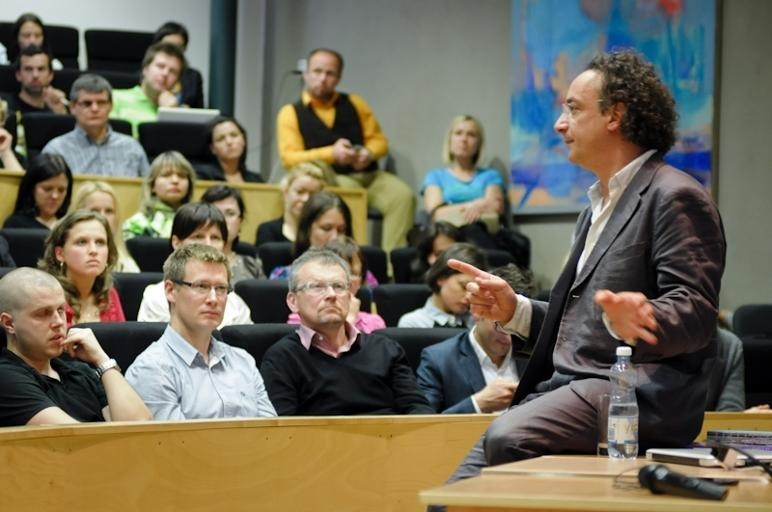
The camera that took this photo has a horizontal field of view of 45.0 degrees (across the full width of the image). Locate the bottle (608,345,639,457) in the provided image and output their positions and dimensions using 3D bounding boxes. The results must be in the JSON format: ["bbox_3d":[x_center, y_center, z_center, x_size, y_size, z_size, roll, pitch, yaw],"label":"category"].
[{"bbox_3d":[0.699,0.423,2.715,0.102,0.320,0.154,6,10,15],"label":"bottle"}]

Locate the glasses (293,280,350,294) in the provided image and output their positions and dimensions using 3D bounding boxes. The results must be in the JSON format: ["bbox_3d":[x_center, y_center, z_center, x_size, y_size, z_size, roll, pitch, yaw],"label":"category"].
[{"bbox_3d":[-0.258,0.123,3.634,0.216,0.062,0.090,3,9,-5],"label":"glasses"}]

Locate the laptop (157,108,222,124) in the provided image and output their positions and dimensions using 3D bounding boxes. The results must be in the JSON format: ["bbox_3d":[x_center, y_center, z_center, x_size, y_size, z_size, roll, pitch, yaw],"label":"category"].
[{"bbox_3d":[-1.186,-0.855,5.696,0.479,0.089,0.240,10,11,35],"label":"laptop"}]

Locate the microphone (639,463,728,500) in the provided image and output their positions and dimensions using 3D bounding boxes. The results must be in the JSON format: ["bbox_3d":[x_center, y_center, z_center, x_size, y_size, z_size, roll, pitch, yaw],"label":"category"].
[{"bbox_3d":[0.752,0.584,2.370,0.082,0.077,0.206,3,1,-40],"label":"microphone"}]
